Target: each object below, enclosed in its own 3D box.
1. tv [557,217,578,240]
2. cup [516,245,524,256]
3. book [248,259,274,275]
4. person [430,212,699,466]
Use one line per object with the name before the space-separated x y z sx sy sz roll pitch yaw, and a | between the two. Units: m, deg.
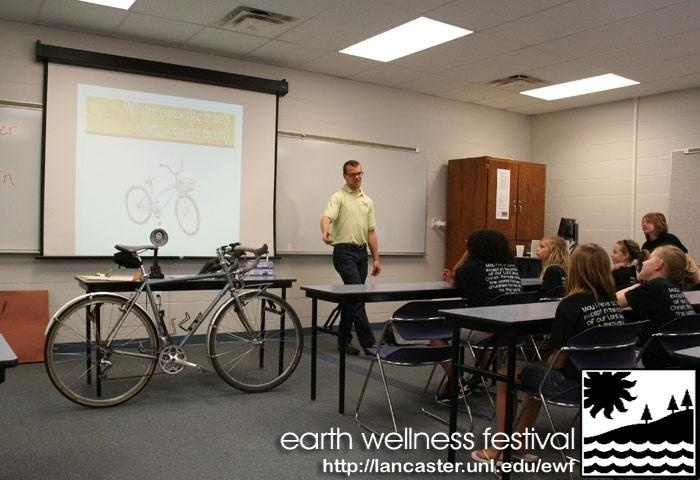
tv | 3.410 -0.184 7.644 0.370 0.437 0.376 0 -1 39
cup | 2.752 0.155 7.920 0.163 0.182 0.169 -1 1 0
book | -0.842 0.248 4.793 0.155 0.095 0.153 1 5 4
person | 1.487 0.752 3.325 1.500 1.492 0.634 -2 6 -30
